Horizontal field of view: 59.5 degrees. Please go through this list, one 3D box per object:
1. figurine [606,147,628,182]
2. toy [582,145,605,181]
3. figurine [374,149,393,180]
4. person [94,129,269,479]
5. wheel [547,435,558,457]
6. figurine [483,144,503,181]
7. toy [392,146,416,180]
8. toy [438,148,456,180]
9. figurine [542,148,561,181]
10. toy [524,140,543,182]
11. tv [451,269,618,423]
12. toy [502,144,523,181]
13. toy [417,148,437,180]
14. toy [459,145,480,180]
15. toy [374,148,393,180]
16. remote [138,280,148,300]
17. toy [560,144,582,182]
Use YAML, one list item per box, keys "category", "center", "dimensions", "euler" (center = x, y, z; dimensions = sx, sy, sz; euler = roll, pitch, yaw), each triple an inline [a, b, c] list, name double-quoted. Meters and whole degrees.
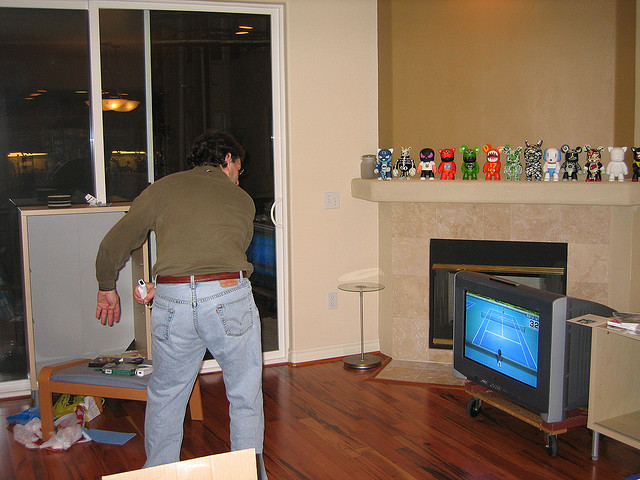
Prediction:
- category: "figurine"
  center: [2.131, -0.547, 4.013]
  dimensions: [0.138, 0.237, 0.221]
  euler: [5, 13, 28]
- category: "toy"
  center: [2.016, -0.573, 4.134]
  dimensions: [0.132, 0.252, 0.224]
  euler: [5, 12, 24]
- category: "figurine"
  center: [0.518, -0.621, 4.580]
  dimensions: [0.174, 0.247, 0.149]
  euler: [-6, 17, -5]
- category: "person"
  center: [-0.702, 0.334, 2.855]
  dimensions: [0.855, 1.685, 0.623]
  euler: [0, 11, 2]
- category: "wheel"
  center: [1.452, 1.270, 3.465]
  dimensions: [0.088, 0.131, 0.048]
  euler: [-6, 12, -25]
- category: "figurine"
  center: [1.314, -0.597, 4.290]
  dimensions: [0.144, 0.260, 0.179]
  euler: [7, 13, 33]
- category: "toy"
  center: [0.686, -0.628, 4.566]
  dimensions: [0.141, 0.240, 0.177]
  euler: [-4, 12, -19]
- category: "toy"
  center: [1.017, -0.610, 4.465]
  dimensions: [0.142, 0.239, 0.193]
  euler: [1, 11, 10]
- category: "figurine"
  center: [1.728, -0.566, 4.180]
  dimensions: [0.115, 0.232, 0.144]
  euler: [4, 12, 22]
- category: "toy"
  center: [1.608, -0.600, 4.213]
  dimensions: [0.131, 0.300, 0.168]
  euler: [4, 12, 22]
- category: "tv"
  center: [1.528, 0.709, 3.884]
  dimensions: [0.819, 0.919, 1.048]
  euler: [0, 5, -13]
- category: "toy"
  center: [1.475, -0.603, 4.311]
  dimensions: [0.141, 0.264, 0.350]
  euler: [3, 12, 18]
- category: "toy"
  center: [0.848, -0.608, 4.445]
  dimensions: [0.123, 0.238, 0.126]
  euler: [1, 11, 10]
- category: "toy"
  center: [1.171, -0.615, 4.389]
  dimensions: [0.130, 0.261, 0.273]
  euler: [2, 12, 14]
- category: "toy"
  center: [0.528, -0.622, 4.588]
  dimensions: [0.144, 0.256, 0.133]
  euler: [2, 18, 12]
- category: "remote"
  center: [-0.987, 0.280, 3.126]
  dimensions: [0.045, 0.024, 0.101]
  euler: [-15, -27, -9]
- category: "toy"
  center: [1.872, -0.579, 4.169]
  dimensions: [0.154, 0.264, 0.285]
  euler: [4, 12, 24]
